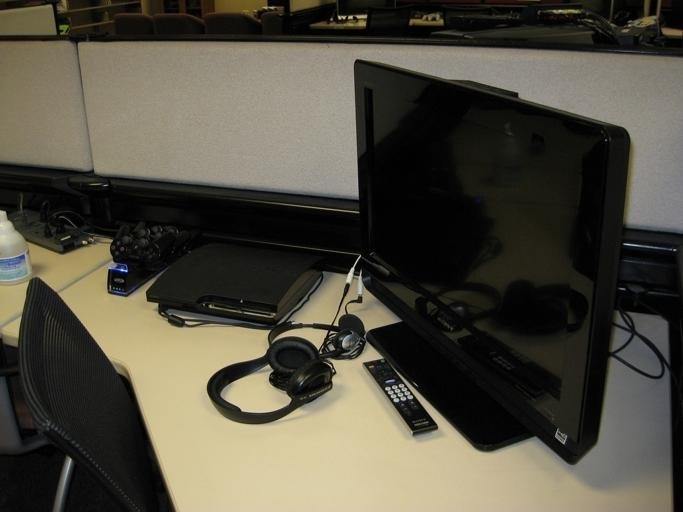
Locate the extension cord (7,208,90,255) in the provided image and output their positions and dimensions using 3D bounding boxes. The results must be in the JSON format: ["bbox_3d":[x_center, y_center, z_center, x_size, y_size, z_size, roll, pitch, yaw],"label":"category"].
[{"bbox_3d":[-0.974,-0.104,1.768,0.296,0.042,0.128,25,42,30],"label":"extension cord"}]

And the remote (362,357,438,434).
[{"bbox_3d":[0.128,0.271,1.156,0.063,0.023,0.216,-8,31,-18],"label":"remote"}]

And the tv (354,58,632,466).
[{"bbox_3d":[0.300,0.019,1.073,0.235,0.589,0.616,-19,41,-27],"label":"tv"}]

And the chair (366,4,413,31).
[{"bbox_3d":[0.442,-2.181,5.052,0.164,0.221,0.699,11,24,27],"label":"chair"}]
